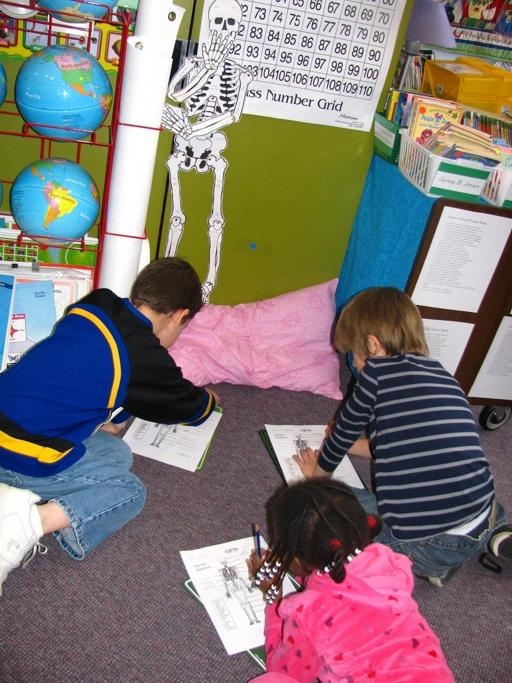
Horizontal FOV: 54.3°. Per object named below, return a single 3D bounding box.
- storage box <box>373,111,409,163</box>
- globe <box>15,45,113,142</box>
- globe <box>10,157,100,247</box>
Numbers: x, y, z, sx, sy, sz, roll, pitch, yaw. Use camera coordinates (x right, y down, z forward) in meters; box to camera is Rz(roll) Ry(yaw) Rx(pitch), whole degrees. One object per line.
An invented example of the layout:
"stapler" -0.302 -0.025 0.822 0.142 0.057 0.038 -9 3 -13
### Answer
"storage box" 0.536 -0.824 2.061 0.144 0.206 0.197 3 36 -3
"globe" -0.554 -0.710 1.451 0.253 0.251 0.171 -3 34 -29
"globe" -0.634 -0.446 1.562 0.260 0.245 0.255 35 37 5
